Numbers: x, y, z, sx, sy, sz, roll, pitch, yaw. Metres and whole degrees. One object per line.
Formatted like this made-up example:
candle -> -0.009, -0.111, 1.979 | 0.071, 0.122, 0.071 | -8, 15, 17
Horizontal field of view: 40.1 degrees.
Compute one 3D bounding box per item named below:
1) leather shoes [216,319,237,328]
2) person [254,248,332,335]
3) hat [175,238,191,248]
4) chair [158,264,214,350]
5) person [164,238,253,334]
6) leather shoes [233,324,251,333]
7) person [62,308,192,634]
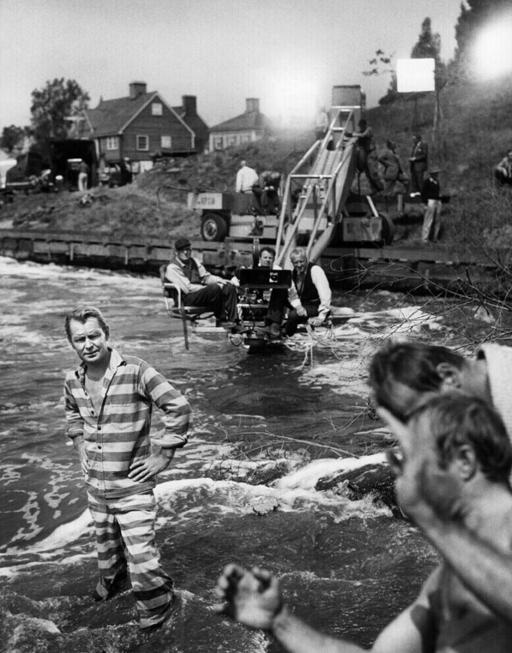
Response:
leather shoes -> -0.467, -0.032, 11.300 | 0.336, 0.150, 0.139 | 6, 4, 1
person -> 0.634, -0.476, 10.847 | 0.992, 1.399, 0.771 | -1, 9, -1
hat -> -1.161, -1.281, 11.104 | 0.222, 0.170, 0.392 | -2, 10, -7
chair -> -1.127, -0.278, 11.529 | 0.811, 1.258, 0.866 | -1, 6, -40
person -> -0.875, -0.629, 11.308 | 0.983, 1.582, 0.696 | -8, 9, 32
leather shoes -> -0.237, 0.045, 11.300 | 0.155, 0.088, 0.205 | -1, 7, 0
person -> -0.688, 0.756, 3.732 | 0.677, 1.678, 0.406 | 6, 12, 38
